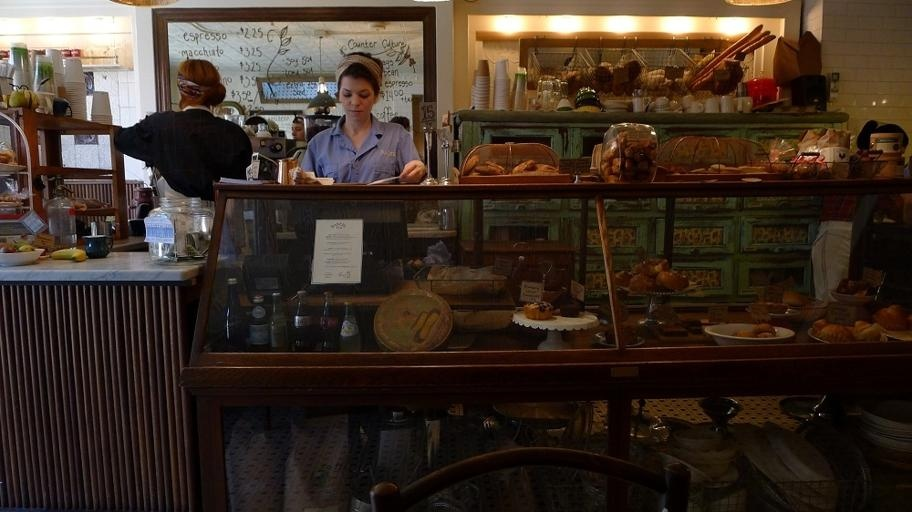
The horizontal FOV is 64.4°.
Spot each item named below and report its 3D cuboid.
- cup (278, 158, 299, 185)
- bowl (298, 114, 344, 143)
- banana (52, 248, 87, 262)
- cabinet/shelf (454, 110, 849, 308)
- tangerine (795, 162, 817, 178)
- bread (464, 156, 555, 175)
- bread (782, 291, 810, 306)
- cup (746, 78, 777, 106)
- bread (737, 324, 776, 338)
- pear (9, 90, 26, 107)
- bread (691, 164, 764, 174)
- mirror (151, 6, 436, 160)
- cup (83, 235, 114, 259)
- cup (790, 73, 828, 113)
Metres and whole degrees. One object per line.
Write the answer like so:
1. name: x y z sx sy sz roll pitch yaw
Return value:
1. cup: -1.048 -0.527 4.527 0.184 0.154 0.122 -2 6 -13
2. bowl: -1.290 -1.227 6.812 0.431 0.286 0.415 -1 4 0
3. banana: -2.626 -0.009 4.911 0.303 0.072 0.092 1 9 16
4. cabinet/shelf: 1.239 -0.274 4.766 1.968 0.958 0.619 0 -1 3
5. tangerine: 2.202 -0.540 4.552 0.104 0.073 0.110 0 0 8
6. bread: 0.361 -0.589 4.709 0.596 0.118 0.349 -1 9 6
7. bread: 2.133 0.271 4.571 0.094 0.033 0.122 1 9 6
8. cup: 3.221 -1.739 7.780 0.366 0.305 0.342 0 1 0
9. bread: 1.875 0.470 4.481 0.130 0.033 0.122 -4 7 -7
10. pear: -3.423 -1.236 5.665 0.128 0.129 0.087 3 10 28
11. bread: 1.759 -0.560 4.662 0.437 0.064 0.172 1 9 16
12. mirror: -1.530 -1.681 6.754 2.268 1.098 0.110 0 1 -3
13. cup: -2.433 -0.070 4.929 0.182 0.114 0.137 0 -1 -40
14. cup: 3.679 -1.705 7.581 0.338 0.368 0.329 -2 9 0
